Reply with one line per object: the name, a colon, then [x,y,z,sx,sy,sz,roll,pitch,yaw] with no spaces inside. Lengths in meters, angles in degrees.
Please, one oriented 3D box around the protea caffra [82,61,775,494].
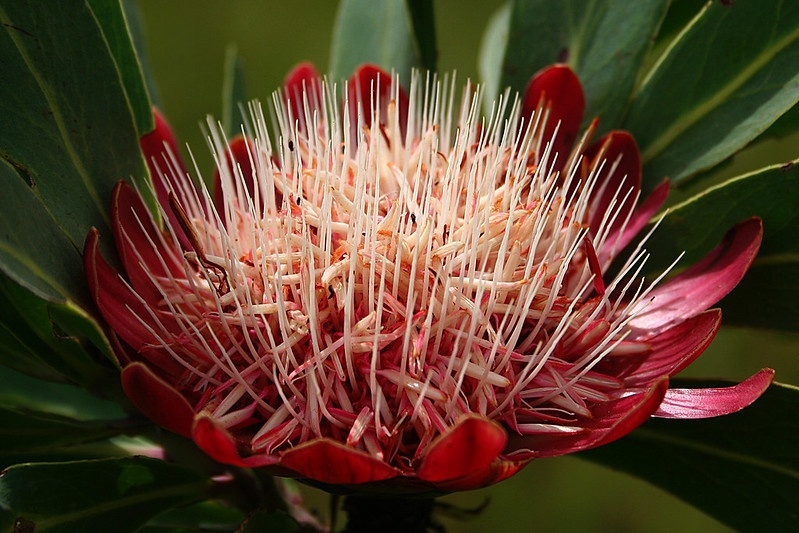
protea caffra: [-0.078,0.036,1.094,0.818,0.411,0.820,4,19,-28]
